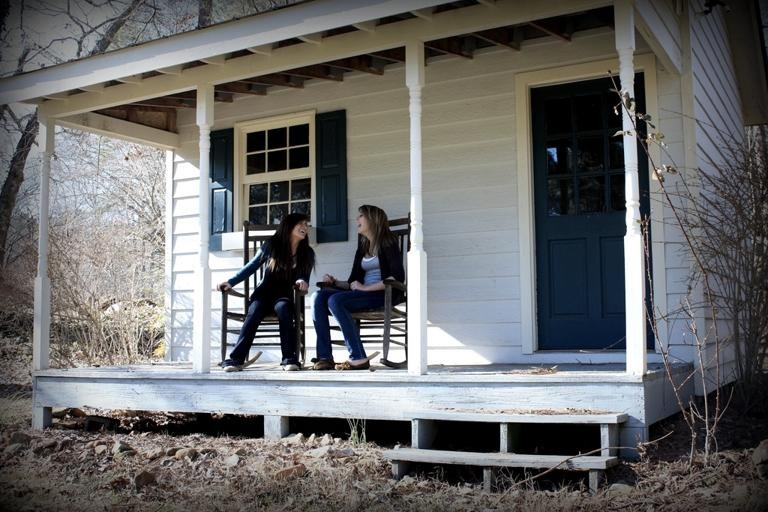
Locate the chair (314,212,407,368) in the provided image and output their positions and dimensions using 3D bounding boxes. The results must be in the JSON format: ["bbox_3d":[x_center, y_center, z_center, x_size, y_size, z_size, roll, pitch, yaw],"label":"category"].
[{"bbox_3d":[-0.268,0.301,7.084,0.974,1.669,0.829,-3,3,3],"label":"chair"}]

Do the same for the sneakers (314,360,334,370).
[{"bbox_3d":[-0.612,1.108,6.933,0.194,0.082,0.092,2,-7,-4],"label":"sneakers"}]

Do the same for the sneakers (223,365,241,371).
[{"bbox_3d":[-1.578,1.176,7.112,0.173,0.068,0.062,15,-24,-36],"label":"sneakers"}]

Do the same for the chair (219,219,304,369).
[{"bbox_3d":[-1.199,0.367,7.178,0.964,1.617,0.642,-3,3,-7],"label":"chair"}]

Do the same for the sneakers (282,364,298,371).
[{"bbox_3d":[-0.937,1.138,6.946,0.123,0.041,0.070,10,-17,-35],"label":"sneakers"}]
